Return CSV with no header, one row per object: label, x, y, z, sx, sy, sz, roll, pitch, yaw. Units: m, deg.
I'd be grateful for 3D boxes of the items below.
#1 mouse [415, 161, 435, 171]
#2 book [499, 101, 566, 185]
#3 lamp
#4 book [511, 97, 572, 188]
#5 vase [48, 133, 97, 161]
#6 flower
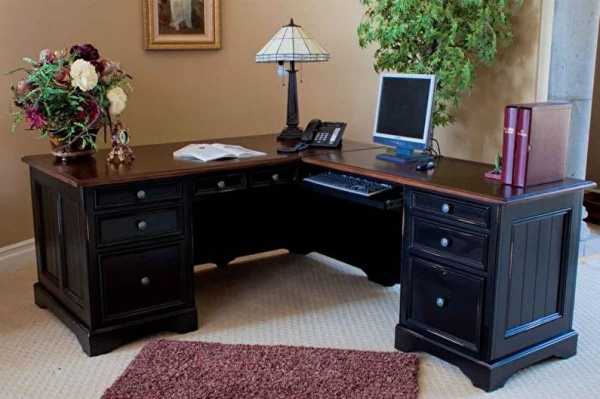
mouse,0.802,-0.213,3.142,0.124,0.044,0.070,-10,17,-29
book,1.304,-0.306,2.732,0.408,0.393,0.154,-11,16,-33
lamp,-0.071,-1.037,4.143,0.571,0.926,0.744,-3,21,-4
book,1.364,-0.316,2.772,0.411,0.438,0.189,-17,26,-35
vase,-1.526,-0.366,3.282,0.212,0.131,0.199,4,13,20
flower,-1.524,-0.648,3.400,0.800,0.793,0.767,-7,66,-29
